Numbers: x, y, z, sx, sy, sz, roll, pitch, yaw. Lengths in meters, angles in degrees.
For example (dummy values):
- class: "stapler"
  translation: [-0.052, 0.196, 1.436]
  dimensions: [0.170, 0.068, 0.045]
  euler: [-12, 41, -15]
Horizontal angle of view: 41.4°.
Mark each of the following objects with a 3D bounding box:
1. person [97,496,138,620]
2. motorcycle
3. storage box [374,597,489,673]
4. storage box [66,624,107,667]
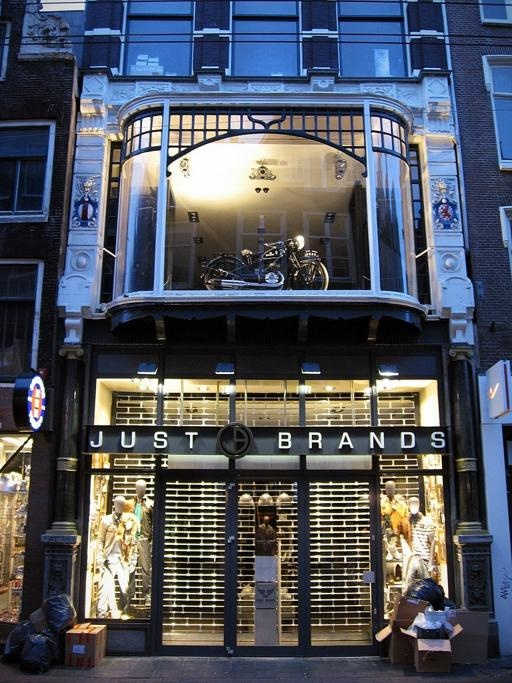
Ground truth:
- class: "person"
  translation: [-2.072, 3.235, 9.995]
  dimensions: [0.563, 1.517, 0.202]
  euler: [1, -14, -6]
- class: "motorcycle"
  translation: [0.171, -1.254, 11.213]
  dimensions: [2.002, 0.955, 0.851]
  euler: [-2, -19, 5]
- class: "storage box"
  translation: [2.371, 3.787, 8.741]
  dimensions: [1.126, 0.531, 0.916]
  euler: [1, -8, 1]
- class: "storage box"
  translation: [-2.305, 4.133, 9.235]
  dimensions: [0.374, 0.453, 0.654]
  euler: [-1, -14, 0]
